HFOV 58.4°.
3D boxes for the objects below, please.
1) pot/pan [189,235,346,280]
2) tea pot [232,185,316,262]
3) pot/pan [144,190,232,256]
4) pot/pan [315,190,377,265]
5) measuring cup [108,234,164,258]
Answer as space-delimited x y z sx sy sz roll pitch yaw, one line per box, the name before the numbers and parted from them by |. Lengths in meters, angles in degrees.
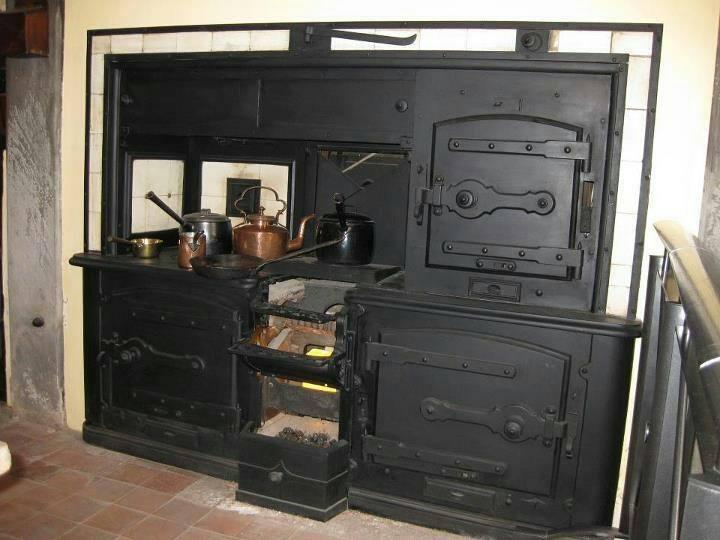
pot/pan | -0.500 -0.041 3.363 0.899 0.113 0.388 0 10 9
tea pot | -0.482 -0.260 3.670 0.487 0.378 0.267 3 15 -2
pot/pan | -1.016 -0.250 3.810 0.577 0.381 0.313 3 15 27
pot/pan | -0.077 -0.212 3.445 0.343 0.358 0.509 3 10 1
measuring cup | -1.290 -0.145 3.728 0.131 0.091 0.241 11 13 39
